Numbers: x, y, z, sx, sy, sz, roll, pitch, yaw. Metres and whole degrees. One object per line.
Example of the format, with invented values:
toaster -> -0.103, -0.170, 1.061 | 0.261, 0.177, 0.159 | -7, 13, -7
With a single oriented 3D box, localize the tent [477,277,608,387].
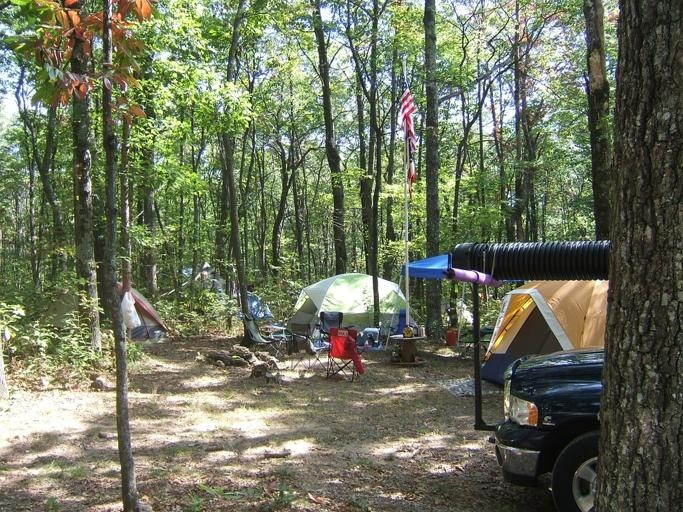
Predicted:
tent -> 3.473, 1.165, 13.231 | 1.722, 1.332, 1.998 | 4, -7, -18

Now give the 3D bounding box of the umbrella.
umbrella -> 1.971, 0.814, 17.059 | 1.232, 1.689, 1.547 | 0, 0, -38
